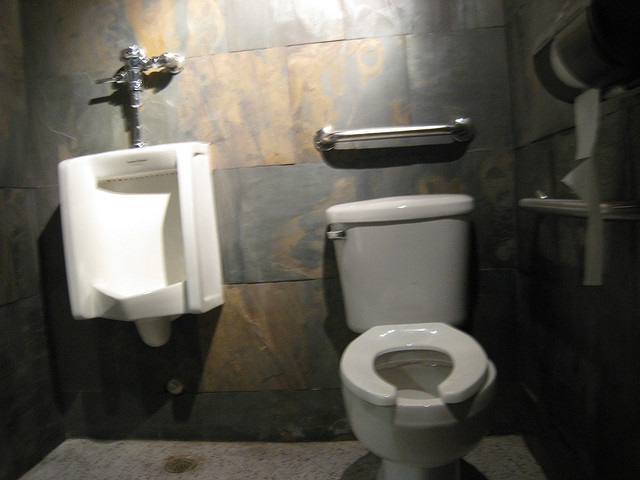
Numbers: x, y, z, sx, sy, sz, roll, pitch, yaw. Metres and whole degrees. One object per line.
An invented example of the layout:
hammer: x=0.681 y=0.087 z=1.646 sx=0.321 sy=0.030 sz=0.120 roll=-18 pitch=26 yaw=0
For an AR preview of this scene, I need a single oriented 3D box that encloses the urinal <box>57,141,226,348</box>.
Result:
urinal: x=-0.663 y=-0.041 z=2.137 sx=0.522 sy=0.606 sz=0.368 roll=-4 pitch=14 yaw=2
